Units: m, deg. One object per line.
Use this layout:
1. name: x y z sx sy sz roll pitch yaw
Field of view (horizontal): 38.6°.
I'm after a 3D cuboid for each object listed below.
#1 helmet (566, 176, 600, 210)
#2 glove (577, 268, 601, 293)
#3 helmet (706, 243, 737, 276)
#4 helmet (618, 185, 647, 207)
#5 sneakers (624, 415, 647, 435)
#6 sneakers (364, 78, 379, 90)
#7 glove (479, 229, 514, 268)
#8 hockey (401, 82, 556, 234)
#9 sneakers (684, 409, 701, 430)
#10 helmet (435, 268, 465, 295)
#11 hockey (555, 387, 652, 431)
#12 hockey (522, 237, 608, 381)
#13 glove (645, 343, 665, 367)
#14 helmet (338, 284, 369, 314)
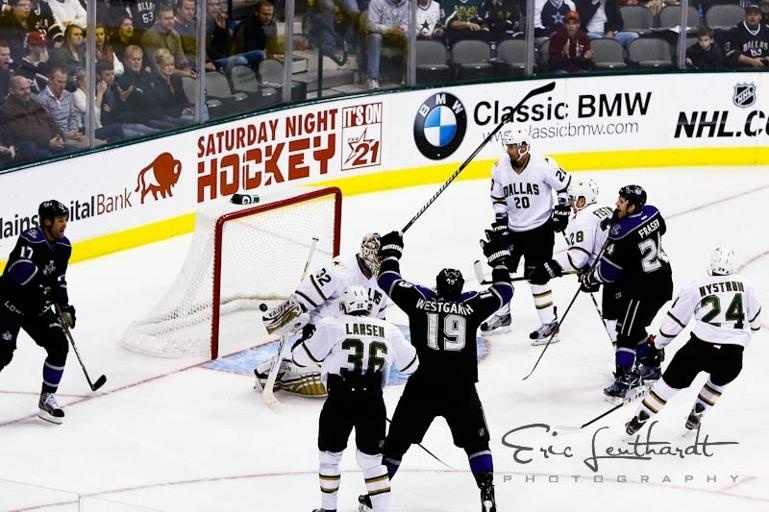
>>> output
1. helmet: 1.960 -0.610 10.786 0.334 0.305 0.266 17 24 37
2. glove: 1.863 0.221 10.010 0.129 0.163 0.265 -23 -1 -11
3. helmet: 3.051 0.044 9.969 0.246 0.296 0.297 4 -3 6
4. helmet: 2.154 -0.522 9.545 0.221 0.202 0.280 1 18 10
5. sneakers: 2.091 1.418 9.236 0.112 0.092 0.261 -39 -5 -34
6. sneakers: -0.161 -2.160 13.811 0.149 0.111 0.273 -1 4 -6
7. glove: 0.982 -0.063 9.454 0.151 0.363 0.283 -14 -21 -34
8. hockey: 1.016 -1.163 13.103 2.765 0.166 0.400 -44 20 -9
9. sneakers: 2.600 1.388 9.309 0.084 0.105 0.241 20 17 17
10. helmet: 0.497 0.219 8.375 0.197 0.227 0.201 -2 18 1
11. hockey: 1.924 1.349 9.573 1.284 0.135 0.209 -9 27 -40
12. hockey: 1.733 0.544 10.541 0.222 0.049 1.539 -11 44 52
13. glove: 2.414 0.892 9.823 0.178 0.171 0.233 3 28 3
14. helmet: -0.241 0.316 8.303 0.183 0.208 0.217 5 26 -12
